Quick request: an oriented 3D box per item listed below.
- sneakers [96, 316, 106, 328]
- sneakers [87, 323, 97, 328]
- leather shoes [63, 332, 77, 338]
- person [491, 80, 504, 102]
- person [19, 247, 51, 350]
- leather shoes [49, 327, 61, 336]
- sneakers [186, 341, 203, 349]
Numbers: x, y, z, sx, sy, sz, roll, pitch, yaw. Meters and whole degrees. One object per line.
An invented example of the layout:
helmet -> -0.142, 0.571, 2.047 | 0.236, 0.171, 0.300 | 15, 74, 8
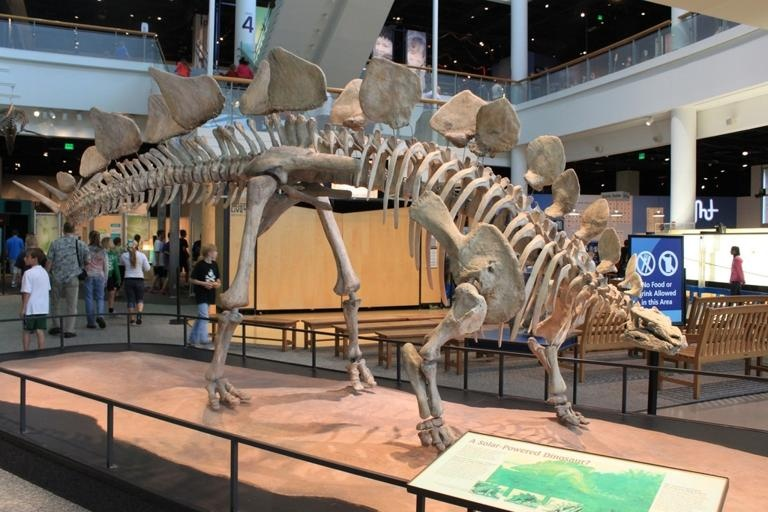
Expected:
sneakers -> -5.470, 1.260, 11.817 | 0.107, 0.227, 0.103 | -12, 41, 5
sneakers -> -5.625, 1.321, 11.783 | 0.174, 0.088, 0.211 | -1, 1, -22
leather shoes -> -5.576, 1.380, 10.884 | 0.176, 0.086, 0.125 | -1, 1, -26
person -> 3.113, -4.553, 16.843 | 0.331, 0.656, 1.173 | -1, 1, 10
person -> -5.358, 0.661, 9.411 | 0.348, 1.501, 1.096 | -1, 1, -30
leather shoes -> -5.975, 1.329, 11.057 | 0.246, 0.143, 0.121 | 0, 1, 23
sneakers -> -2.994, 1.409, 9.720 | 0.230, 0.074, 0.645 | -1, 1, -15
